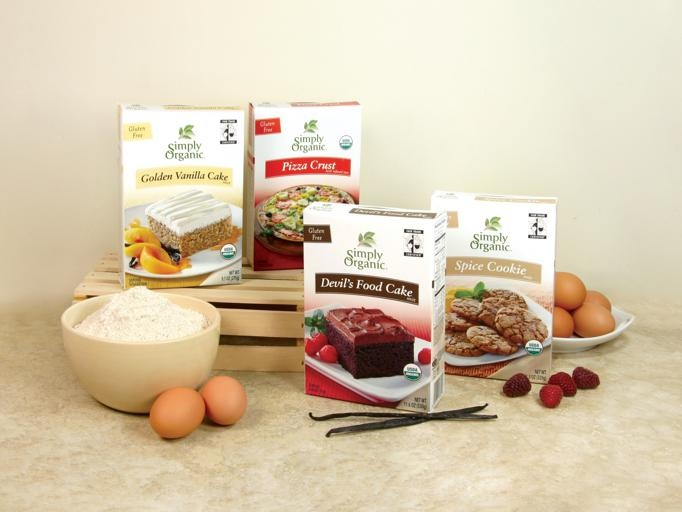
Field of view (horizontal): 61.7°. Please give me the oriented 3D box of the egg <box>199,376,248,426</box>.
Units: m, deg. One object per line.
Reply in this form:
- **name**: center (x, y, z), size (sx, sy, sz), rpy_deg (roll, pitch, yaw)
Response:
- **egg**: center (-0.259, 0.321, 1.261), size (0.087, 0.101, 0.065), rpy_deg (-7, 23, -23)

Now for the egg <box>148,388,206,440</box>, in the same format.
- **egg**: center (-0.342, 0.329, 1.246), size (0.137, 0.083, 0.102), rpy_deg (-10, 7, -36)

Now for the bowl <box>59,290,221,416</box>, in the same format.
- **bowl**: center (-0.457, 0.188, 1.341), size (0.388, 0.190, 0.329), rpy_deg (1, 4, -4)

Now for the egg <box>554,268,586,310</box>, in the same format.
- **egg**: center (0.644, 0.102, 1.610), size (0.089, 0.102, 0.067), rpy_deg (9, 22, 17)
